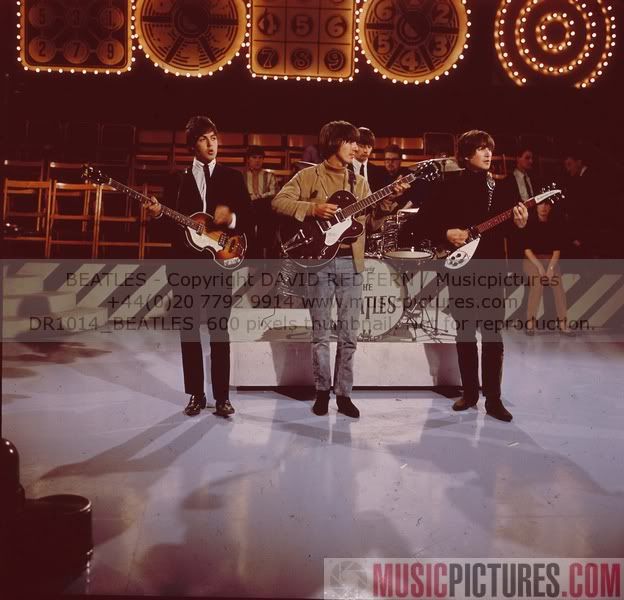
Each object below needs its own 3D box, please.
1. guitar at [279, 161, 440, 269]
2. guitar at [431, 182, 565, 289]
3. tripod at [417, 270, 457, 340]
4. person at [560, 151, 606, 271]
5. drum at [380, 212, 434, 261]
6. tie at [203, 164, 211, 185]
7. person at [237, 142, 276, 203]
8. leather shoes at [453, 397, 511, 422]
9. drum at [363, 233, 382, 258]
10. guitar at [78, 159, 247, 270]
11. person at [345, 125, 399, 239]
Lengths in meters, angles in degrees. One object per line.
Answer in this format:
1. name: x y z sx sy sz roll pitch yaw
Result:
1. guitar: 0.278 -0.539 3.513 1.162 0.488 0.140 -36 3 -10
2. guitar: 1.401 -0.473 4.077 0.978 0.389 0.141 -39 -10 4
3. tripod: 1.157 0.122 5.182 0.336 0.520 0.371 3 -2 -2
4. person: 3.148 -1.006 6.430 0.409 1.370 0.177 0 18 3
5. drum: 0.687 -0.470 4.126 0.322 0.382 0.353 -3 -6 24
6. tie: -0.632 -0.743 3.333 0.020 0.097 0.059 -1 15 -30
7. person: -0.696 -1.502 6.943 0.464 0.840 0.438 -3 0 -11
8. leather shoes: 1.051 0.632 3.475 0.371 0.182 0.134 3 8 32
9. drum: 0.488 -0.420 4.390 0.161 0.203 0.181 1 1 -5
10. guitar: -0.848 -0.462 3.311 0.876 0.588 0.357 0 -1 5
11. person: 0.614 -1.175 5.175 0.129 1.347 0.464 10 13 42
